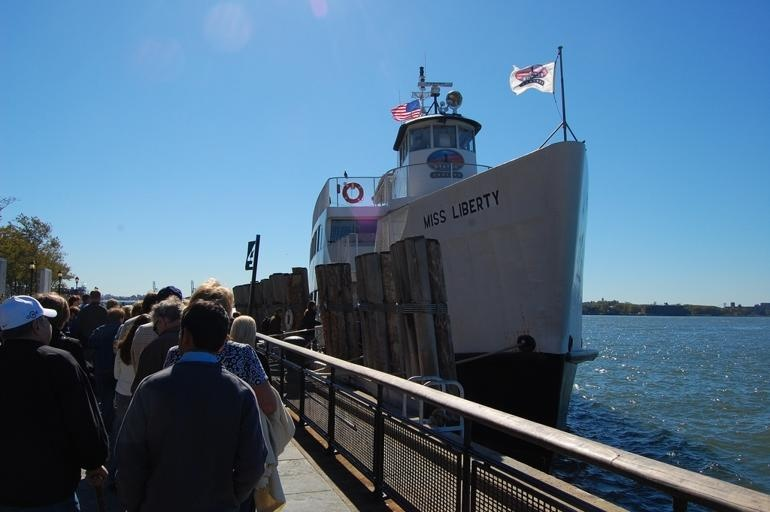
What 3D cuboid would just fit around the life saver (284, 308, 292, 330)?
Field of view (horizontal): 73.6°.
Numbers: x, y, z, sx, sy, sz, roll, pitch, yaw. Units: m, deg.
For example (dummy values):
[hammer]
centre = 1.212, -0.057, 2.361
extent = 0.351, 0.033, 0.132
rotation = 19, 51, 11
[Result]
[life saver]
centre = -2.744, 1.807, 14.694
extent = 0.103, 0.459, 0.442
rotation = 2, 24, -18
